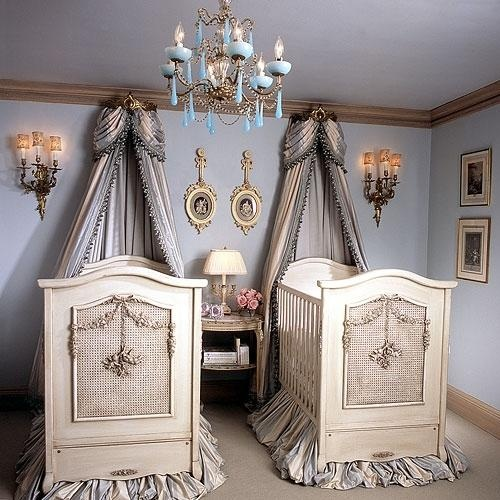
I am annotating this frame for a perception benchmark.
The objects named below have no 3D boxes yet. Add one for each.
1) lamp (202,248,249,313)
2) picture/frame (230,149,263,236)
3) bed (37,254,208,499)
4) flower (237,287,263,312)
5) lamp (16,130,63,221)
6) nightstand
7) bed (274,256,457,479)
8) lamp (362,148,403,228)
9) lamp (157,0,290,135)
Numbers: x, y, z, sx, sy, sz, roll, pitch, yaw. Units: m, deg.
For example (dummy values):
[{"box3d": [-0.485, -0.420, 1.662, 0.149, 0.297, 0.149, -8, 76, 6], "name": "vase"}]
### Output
[{"box3d": [-0.204, 0.246, 3.928, 0.446, 0.718, 0.463, -1, 5, -2], "name": "lamp"}, {"box3d": [-0.032, -0.489, 4.021, 0.270, 0.710, 0.079, 1, 4, -1], "name": "picture/frame"}, {"box3d": [-0.725, 0.616, 2.810, 0.825, 1.279, 0.731, 1, 11, -9], "name": "bed"}, {"box3d": [-0.005, 0.422, 3.844, 0.175, 0.190, 0.134, 16, -31, 3], "name": "flower"}, {"box3d": [-1.623, -0.561, 3.619, 0.326, 0.631, 0.143, -5, 2, -39], "name": "lamp"}, {"box3d": [-0.155, 0.845, 3.603, 0.545, 0.659, 0.566, 1, -2, 0], "name": "nightstand"}, {"box3d": [0.748, 0.668, 3.152, 0.860, 1.164, 0.881, 0, 4, -9], "name": "bed"}, {"box3d": [1.196, -0.561, 4.248, 0.340, 0.697, 0.246, 2, 5, 14], "name": "lamp"}, {"box3d": [-0.171, -1.037, 2.610, 0.649, 0.936, 0.605, 1, 10, 1], "name": "lamp"}]
